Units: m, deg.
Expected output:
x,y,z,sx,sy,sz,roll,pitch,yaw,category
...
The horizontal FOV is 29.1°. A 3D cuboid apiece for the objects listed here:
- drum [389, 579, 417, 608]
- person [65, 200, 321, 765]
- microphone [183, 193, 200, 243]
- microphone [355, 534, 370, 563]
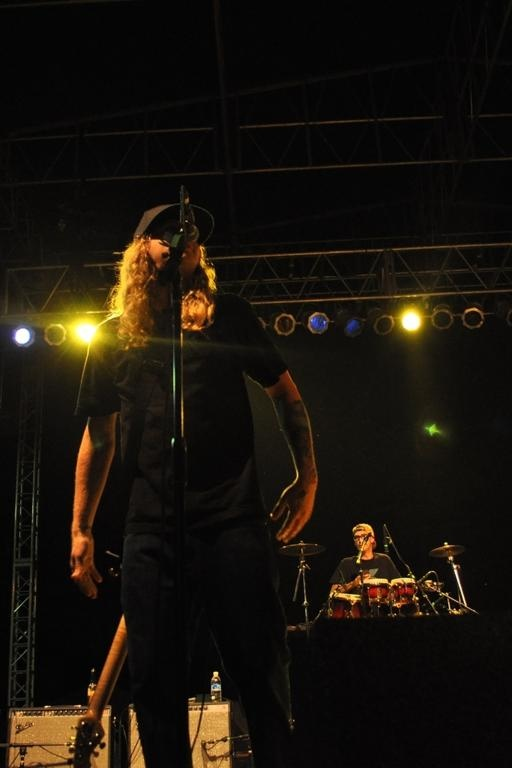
x,y,z,sx,sy,sz,roll,pitch,yaw,category
1.226,1.753,8.268,0.239,0.208,0.226,6,-32,-11,drum
-0.296,0.363,4.017,0.834,2.266,0.877,22,-39,-39,person
-0.270,-0.674,4.047,0.053,0.056,0.216,-10,-61,-17,microphone
1.122,1.788,10.687,0.071,0.271,0.163,22,-18,-21,microphone
